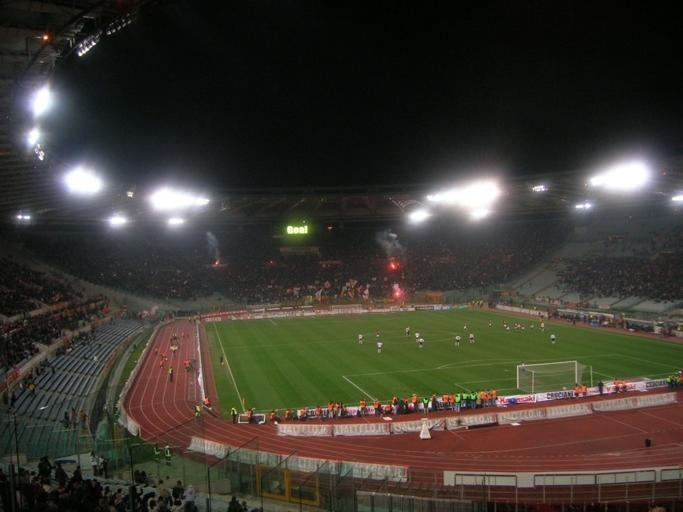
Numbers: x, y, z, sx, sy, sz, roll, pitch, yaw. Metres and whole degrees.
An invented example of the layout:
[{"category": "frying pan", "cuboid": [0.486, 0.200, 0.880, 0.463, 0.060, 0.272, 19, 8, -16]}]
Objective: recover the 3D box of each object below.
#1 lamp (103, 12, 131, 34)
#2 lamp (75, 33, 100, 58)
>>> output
[{"category": "lamp", "cuboid": [-10.750, -11.071, 28.428, 1.515, 0.876, 0.986, 5, 7, 38]}, {"category": "lamp", "cuboid": [-12.428, -10.281, 28.746, 1.421, 0.865, 0.625, 3, 6, 21]}]
